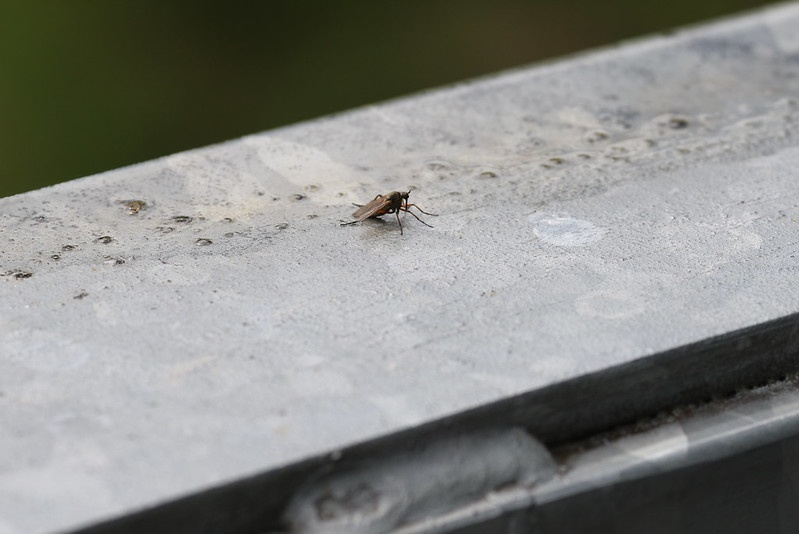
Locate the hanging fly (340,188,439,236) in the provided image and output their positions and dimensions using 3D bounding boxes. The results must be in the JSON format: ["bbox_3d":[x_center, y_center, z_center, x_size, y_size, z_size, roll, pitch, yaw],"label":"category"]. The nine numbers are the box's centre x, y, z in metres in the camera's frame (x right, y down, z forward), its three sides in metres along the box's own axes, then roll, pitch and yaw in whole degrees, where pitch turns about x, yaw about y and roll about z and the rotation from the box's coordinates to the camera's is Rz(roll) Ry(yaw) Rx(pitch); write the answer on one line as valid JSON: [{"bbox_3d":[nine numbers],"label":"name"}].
[{"bbox_3d":[-0.029,-0.116,1.563,0.185,0.074,0.118,-12,30,-4],"label":"hanging fly"}]
